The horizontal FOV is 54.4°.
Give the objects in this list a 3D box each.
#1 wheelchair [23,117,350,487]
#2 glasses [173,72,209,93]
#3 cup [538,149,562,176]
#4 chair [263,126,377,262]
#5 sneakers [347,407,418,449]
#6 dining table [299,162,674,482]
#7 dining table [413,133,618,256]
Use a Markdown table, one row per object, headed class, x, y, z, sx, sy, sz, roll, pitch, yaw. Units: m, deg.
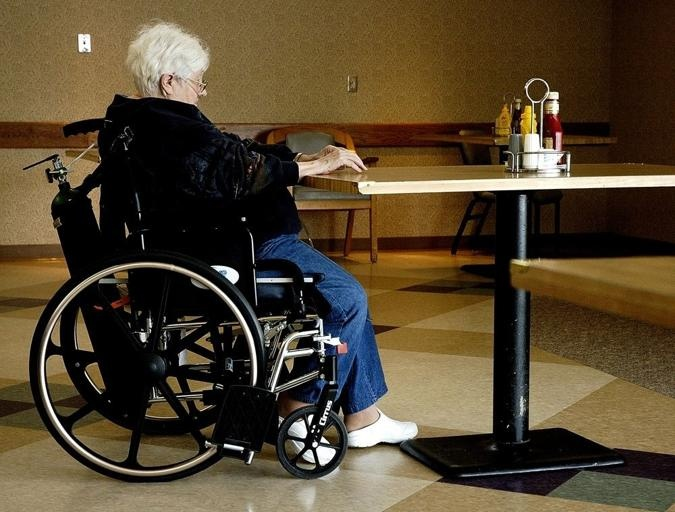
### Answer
| class | x | y | z | sx | sy | sz | roll | pitch | yaw |
| --- | --- | --- | --- | --- | --- | --- | --- | --- | --- |
| wheelchair | -0.379 | 0.197 | 2.007 | 1.045 | 0.778 | 0.748 | 3 | -10 | -15 |
| glasses | -0.433 | -0.505 | 1.913 | 0.100 | 0.022 | 0.081 | 4 | 9 | -9 |
| cup | 0.618 | -0.278 | 1.977 | 0.108 | 0.074 | 0.093 | 0 | 7 | 9 |
| chair | -0.166 | -0.565 | 5.514 | 1.056 | 0.923 | 0.863 | 5 | 18 | 0 |
| sneakers | 0.141 | 0.548 | 2.132 | 0.294 | 0.097 | 0.093 | -4 | 1 | -16 |
| dining table | 0.582 | 0.250 | 2.665 | 1.902 | 0.972 | 0.839 | -2 | 12 | -9 |
| dining table | 1.537 | -0.571 | 5.367 | 1.664 | 0.988 | 1.407 | -2 | 10 | -9 |
